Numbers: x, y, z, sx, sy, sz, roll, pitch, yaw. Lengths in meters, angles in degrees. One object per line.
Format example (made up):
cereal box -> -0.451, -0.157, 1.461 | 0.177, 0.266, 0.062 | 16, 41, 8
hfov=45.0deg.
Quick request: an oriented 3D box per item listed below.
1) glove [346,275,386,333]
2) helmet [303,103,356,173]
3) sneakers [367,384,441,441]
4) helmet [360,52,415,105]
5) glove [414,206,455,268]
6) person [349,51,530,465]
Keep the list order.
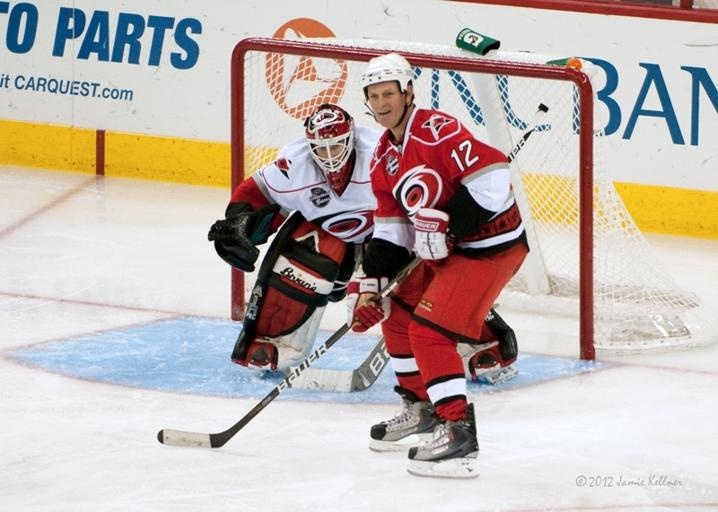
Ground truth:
glove -> 0.023, 0.181, 3.319 | 0.214, 0.088, 0.199 | -12, 25, 2
helmet -> -0.127, -0.529, 3.749 | 0.240, 0.244, 0.290 | -2, 31, 14
sneakers -> 0.172, 0.618, 3.378 | 0.348, 0.202, 0.110 | -1, -3, -26
helmet -> 0.098, -0.668, 3.292 | 0.203, 0.190, 0.222 | -2, 9, 24
glove -> 0.280, -0.072, 3.125 | 0.143, 0.173, 0.112 | 3, 12, 32
person -> 0.262, 0.009, 3.206 | 0.665, 1.486, 0.459 | 7, 8, 9
